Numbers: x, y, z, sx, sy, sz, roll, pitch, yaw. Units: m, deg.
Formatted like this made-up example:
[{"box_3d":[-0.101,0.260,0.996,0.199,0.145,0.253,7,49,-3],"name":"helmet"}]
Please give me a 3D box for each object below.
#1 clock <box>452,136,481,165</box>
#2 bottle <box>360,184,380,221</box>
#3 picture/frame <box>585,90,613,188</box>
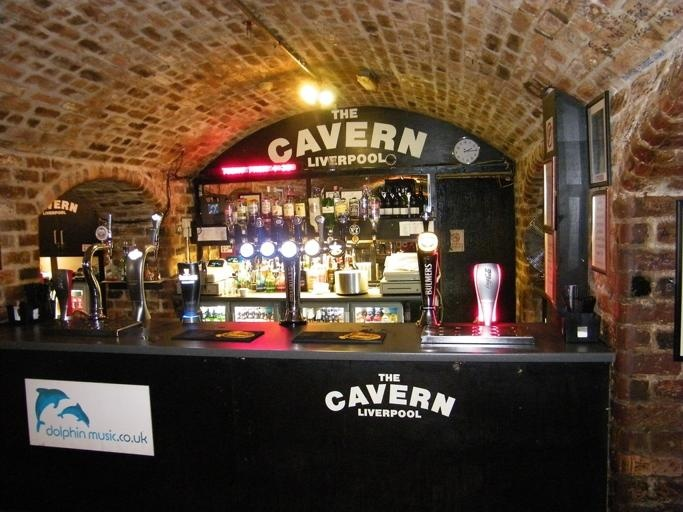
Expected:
[{"box_3d":[1.425,-1.208,6.306,0.347,0.314,0.080,-1,3,3],"name":"clock"},{"box_3d":[0.325,-0.595,6.371,0.220,0.415,0.485,-3,-1,3],"name":"bottle"},{"box_3d":[1.580,-0.659,3.422,0.310,0.528,0.017,-18,16,-41],"name":"picture/frame"}]
